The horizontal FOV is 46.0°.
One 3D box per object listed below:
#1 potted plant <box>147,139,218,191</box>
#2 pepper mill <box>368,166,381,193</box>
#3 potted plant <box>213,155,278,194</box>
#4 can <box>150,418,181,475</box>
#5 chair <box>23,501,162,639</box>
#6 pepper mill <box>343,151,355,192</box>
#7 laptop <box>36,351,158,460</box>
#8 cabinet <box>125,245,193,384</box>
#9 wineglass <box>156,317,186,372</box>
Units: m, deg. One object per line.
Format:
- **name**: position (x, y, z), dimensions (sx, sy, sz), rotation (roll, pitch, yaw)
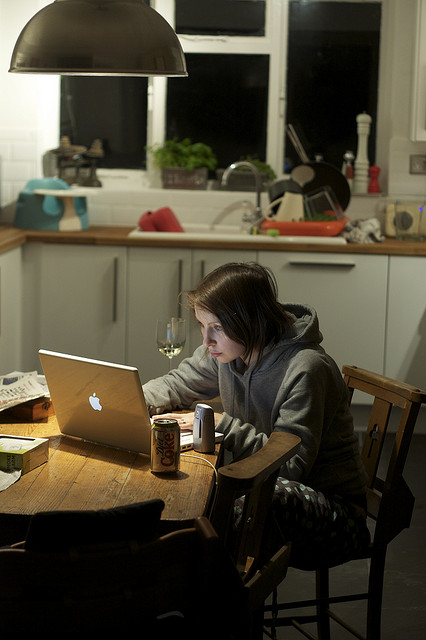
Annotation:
- **potted plant**: position (-0.233, -1.153, 3.860), dimensions (0.400, 0.445, 0.599), rotation (-3, 5, -9)
- **pepper mill**: position (1.178, -1.017, 3.644), dimensions (0.137, 0.185, 0.074), rotation (-12, 16, -41)
- **potted plant**: position (0.243, -1.041, 3.611), dimensions (0.311, 0.156, 0.477), rotation (3, 10, 2)
- **can**: position (-0.095, 0.254, 1.008), dimensions (0.058, 0.101, 0.059), rotation (0, 3, 0)
- **chair**: position (-0.128, 0.272, 0.638), dimensions (0.130, 0.187, 0.169), rotation (-2, 9, -11)
- **pepper mill**: position (0.982, -1.078, 3.654), dimensions (0.081, 0.291, 0.093), rotation (2, 12, 14)
- **laptop**: position (-0.323, 0.231, 1.127), dimensions (0.214, 0.205, 0.294), rotation (-30, -34, 22)
- **cabinet**: position (-0.361, -0.104, 3.118), dimensions (0.379, 0.899, 0.296), rotation (-4, 16, -14)
- **wineglass**: position (-0.155, 0.074, 1.811), dimensions (0.090, 0.154, 0.072), rotation (-10, 15, -37)
